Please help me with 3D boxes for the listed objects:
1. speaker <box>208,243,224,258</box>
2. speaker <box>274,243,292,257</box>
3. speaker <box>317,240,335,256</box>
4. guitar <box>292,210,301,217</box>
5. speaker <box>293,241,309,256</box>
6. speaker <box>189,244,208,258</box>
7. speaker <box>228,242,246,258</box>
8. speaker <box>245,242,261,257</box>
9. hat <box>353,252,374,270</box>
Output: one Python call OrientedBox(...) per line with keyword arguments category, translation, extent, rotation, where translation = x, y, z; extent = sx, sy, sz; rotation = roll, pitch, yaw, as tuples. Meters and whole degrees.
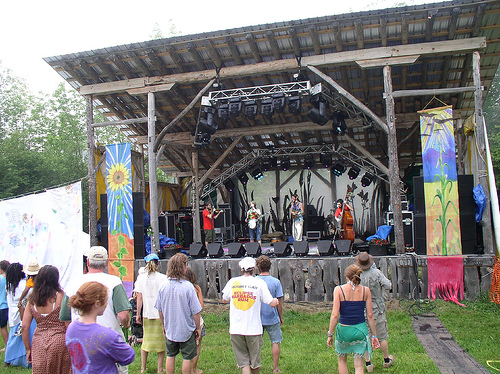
OrientedBox(category="speaker", translation=(-0.997, 1.867, 14.833), extent=(0.394, 0.417, 0.367), rotation=(-1, -19, 22))
OrientedBox(category="speaker", translation=(0.900, 1.770, 14.366), extent=(0.359, 0.414, 0.360), rotation=(-8, -27, 31))
OrientedBox(category="speaker", translation=(2.058, 1.674, 13.942), extent=(0.495, 0.437, 0.316), rotation=(2, -13, -11))
OrientedBox(category="guitar", translation=(1.474, 0.844, 16.246), extent=(0.354, 0.242, 0.289), rotation=(-4, -14, 13))
OrientedBox(category="speaker", translation=(1.388, 1.713, 14.227), extent=(0.396, 0.456, 0.360), rotation=(-2, -13, 8))
OrientedBox(category="speaker", translation=(-1.527, 1.895, 14.993), extent=(0.397, 0.450, 0.387), rotation=(-8, -25, 41))
OrientedBox(category="speaker", translation=(-0.417, 1.806, 14.655), extent=(0.410, 0.424, 0.396), rotation=(3, -30, 32))
OrientedBox(category="speaker", translation=(0.051, 1.760, 14.489), extent=(0.385, 0.437, 0.364), rotation=(7, -4, 23))
OrientedBox(category="hat", translation=(2.022, 1.337, 9.182), extent=(0.351, 0.441, 0.165), rotation=(-8, -33, 12))
